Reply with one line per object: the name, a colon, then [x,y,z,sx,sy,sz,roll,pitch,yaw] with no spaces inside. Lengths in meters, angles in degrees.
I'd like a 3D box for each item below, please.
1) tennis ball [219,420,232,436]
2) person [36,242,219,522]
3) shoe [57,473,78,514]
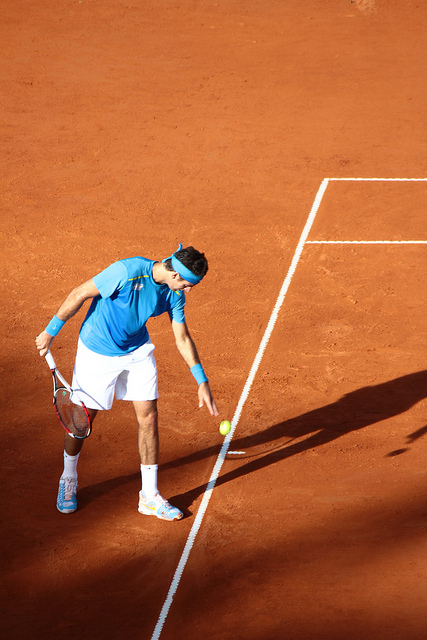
tennis ball: [0.089,0.832,5.007,0.068,0.157,0.143,7,38,6]
person: [-0.579,0.508,4.747,1.126,2.127,0.749,-7,40,-11]
shoe: [-1.140,1.347,5.103,0.127,0.154,0.326,-2,37,-12]
